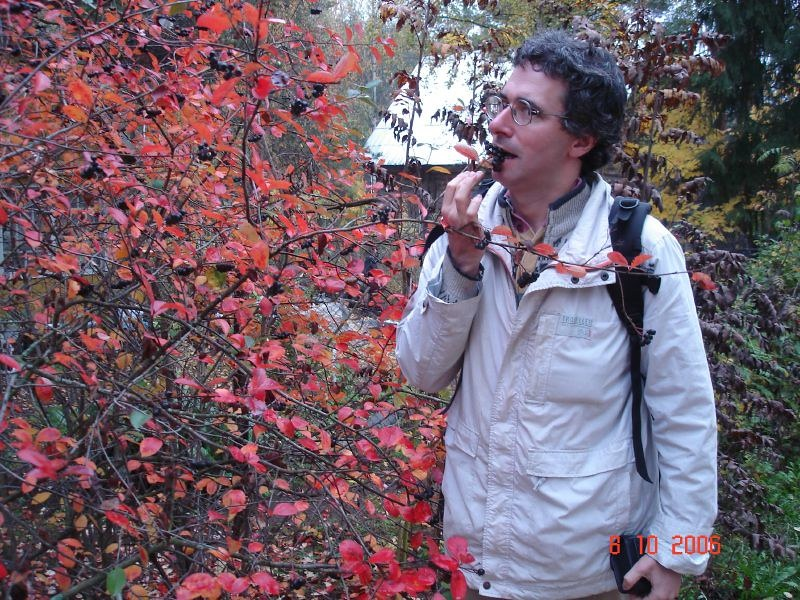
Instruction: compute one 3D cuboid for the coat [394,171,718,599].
[{"bbox_3d":[0.618,0.351,2.979,1.168,1.584,0.670,-2,11,1],"label":"coat"}]
